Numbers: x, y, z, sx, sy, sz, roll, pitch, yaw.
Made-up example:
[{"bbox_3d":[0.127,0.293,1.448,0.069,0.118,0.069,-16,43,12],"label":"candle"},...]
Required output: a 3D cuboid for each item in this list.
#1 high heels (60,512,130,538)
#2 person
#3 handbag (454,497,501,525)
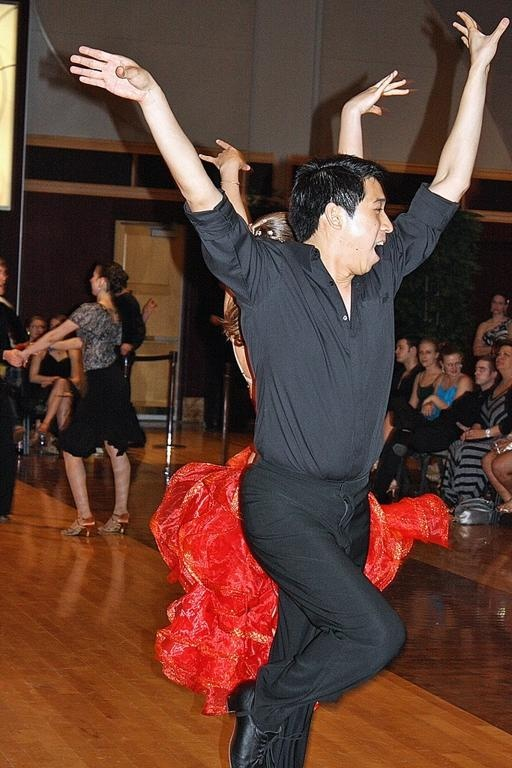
[{"bbox_3d":[-1.081,0.939,4.352,0.329,0.113,0.166,2,-3,-11],"label":"high heels"},{"bbox_3d":[-0.018,0.115,1.084,0.629,1.198,0.344,5,-3,-19],"label":"person"},{"bbox_3d":[1.729,0.988,5.117,0.229,0.113,0.283,-3,-6,4],"label":"handbag"}]
